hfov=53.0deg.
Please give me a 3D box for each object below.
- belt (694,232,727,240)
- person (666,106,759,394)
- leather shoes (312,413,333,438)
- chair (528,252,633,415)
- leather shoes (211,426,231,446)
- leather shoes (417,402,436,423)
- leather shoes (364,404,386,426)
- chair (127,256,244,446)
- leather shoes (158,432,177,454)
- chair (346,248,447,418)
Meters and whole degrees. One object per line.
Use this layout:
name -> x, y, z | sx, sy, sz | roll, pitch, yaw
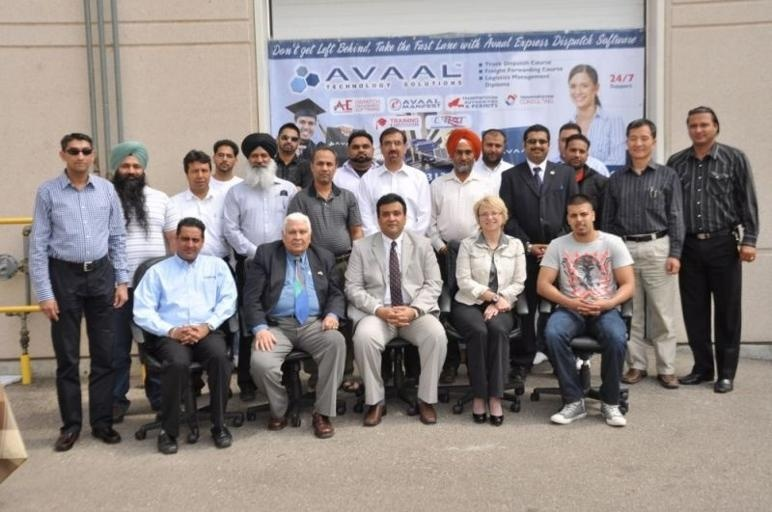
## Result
belt -> 3.159, -0.202, 7.527 | 0.286, 0.077, 0.029 | -1, 9, 17
person -> 3.173, -0.094, 7.539 | 0.800, 2.674, 0.603 | -1, 9, 19
leather shoes -> -0.551, 1.461, 6.723 | 0.181, 0.180, 0.211 | -4, 8, -4
chair -> 1.798, 0.709, 7.008 | 0.848, 1.215, 0.616 | -1, 9, 15
leather shoes -> -1.406, 1.528, 6.611 | 0.157, 0.160, 0.207 | -6, 8, -14
leather shoes -> 0.364, 1.391, 6.896 | 0.130, 0.164, 0.168 | -5, 8, -8
leather shoes -> -0.112, 1.394, 6.955 | 0.204, 0.177, 0.283 | -4, 8, -1
chair -> -1.727, 0.778, 6.758 | 0.900, 1.641, 0.806 | -5, 9, -11
leather shoes -> -1.849, 1.563, 6.541 | 0.166, 0.162, 0.203 | -6, 8, -16
chair -> 0.131, 0.932, 7.002 | 0.828, 1.038, 0.500 | -4, 8, -1
